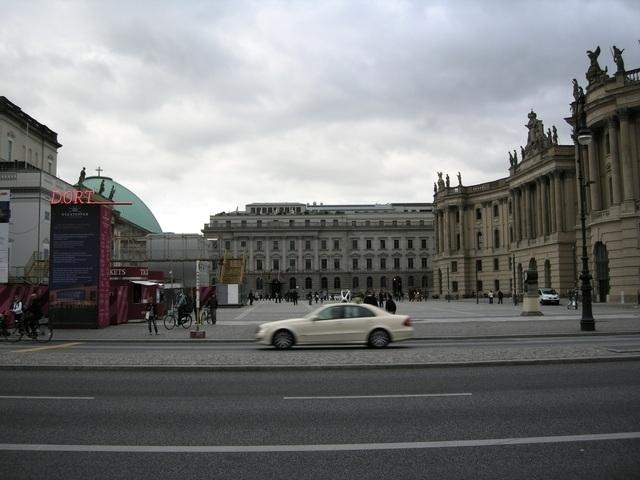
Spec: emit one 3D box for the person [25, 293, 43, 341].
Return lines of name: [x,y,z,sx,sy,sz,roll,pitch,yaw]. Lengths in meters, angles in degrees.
person: [-11.461,3.093,30.506,0.631,1.748,1.067,2,-7,-20]

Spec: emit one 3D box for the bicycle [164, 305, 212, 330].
bicycle: [-6.606,3.998,38.793,2.643,1.535,1.291,2,-3,-16]

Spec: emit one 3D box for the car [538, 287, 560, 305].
car: [18.664,4.598,61.550,1.690,1.309,2.742,-1,-11,6]

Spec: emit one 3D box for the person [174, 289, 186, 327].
person: [-6.834,3.466,37.805,0.524,1.539,1.354,0,-7,-10]
